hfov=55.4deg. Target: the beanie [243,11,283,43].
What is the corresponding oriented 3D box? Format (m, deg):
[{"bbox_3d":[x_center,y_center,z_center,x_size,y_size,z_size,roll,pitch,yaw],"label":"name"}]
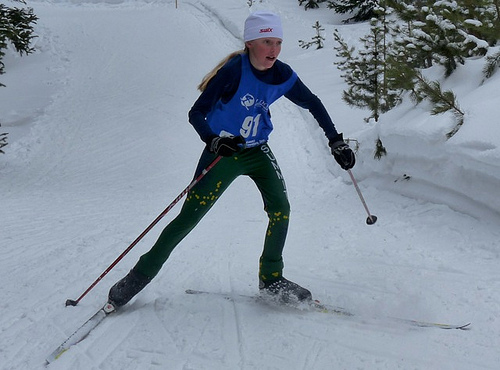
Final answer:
[{"bbox_3d":[0.108,-1.440,4.277,0.343,0.215,0.290,-5,39,2],"label":"beanie"}]
